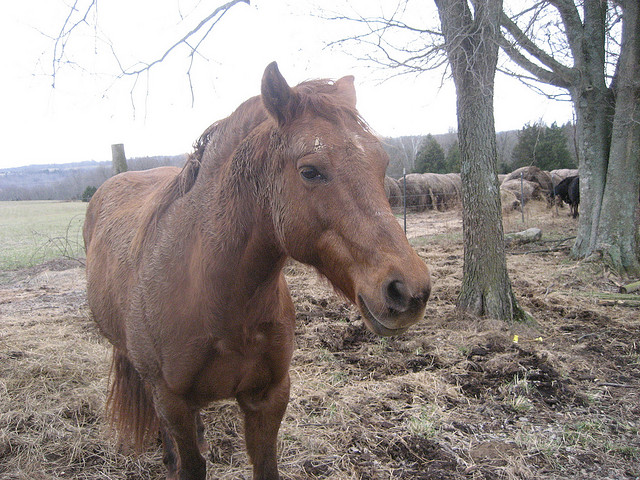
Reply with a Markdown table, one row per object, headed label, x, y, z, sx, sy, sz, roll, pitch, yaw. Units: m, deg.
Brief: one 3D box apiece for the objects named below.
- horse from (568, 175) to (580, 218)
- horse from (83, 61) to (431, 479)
| label | x | y | z | sx | sy | sz | roll | pitch | yaw |
| --- | --- | --- | --- | --- | --- | --- | --- | --- | --- |
| horse | 8.698 | -1.461 | 21.144 | 0.280 | 1.345 | 0.846 | -1 | 6 | 18 |
| horse | -0.781 | 0.402 | 6.523 | 3.634 | 4.262 | 1.105 | -2 | 6 | 11 |
